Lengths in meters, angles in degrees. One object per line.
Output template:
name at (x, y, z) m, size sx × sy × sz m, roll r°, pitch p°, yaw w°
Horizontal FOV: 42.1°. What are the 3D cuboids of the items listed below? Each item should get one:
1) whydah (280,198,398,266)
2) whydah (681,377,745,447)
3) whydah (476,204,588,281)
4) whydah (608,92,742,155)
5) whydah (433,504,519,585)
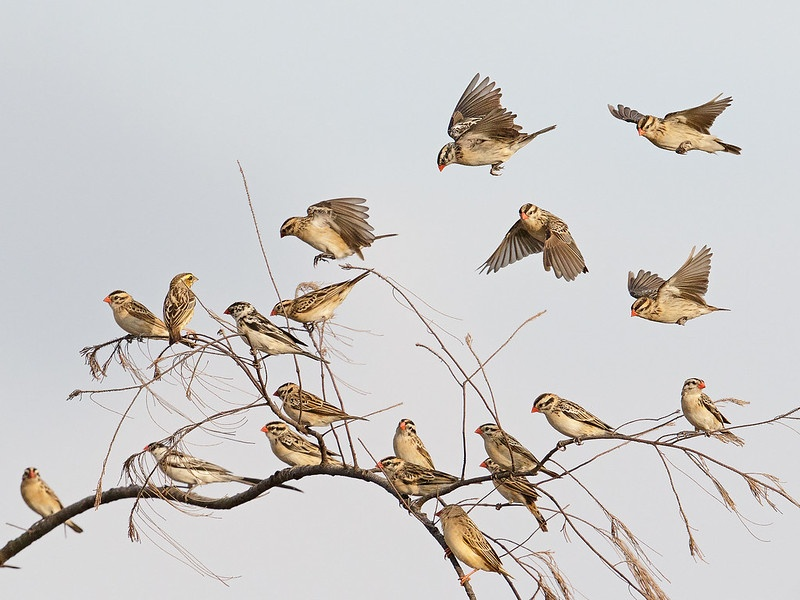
whydah at (-0.772, -0.832, 12.262) m, size 1.206 × 1.288 × 0.739 m, roll 0°, pitch -90°, yaw -8°
whydah at (3.737, 1.327, 12.391) m, size 0.971 × 0.324 × 0.685 m, roll 14°, pitch -93°, yaw -18°
whydah at (1.741, -0.680, 12.439) m, size 0.796 × 1.077 × 0.607 m, roll 2°, pitch -96°, yaw -33°
whydah at (3.830, -2.173, 13.667) m, size 1.343 × 1.549 × 0.680 m, roll -8°, pitch -67°, yaw -5°
whydah at (0.803, 2.552, 10.951) m, size 0.866 × 0.439 × 0.832 m, roll 2°, pitch -103°, yaw 1°
